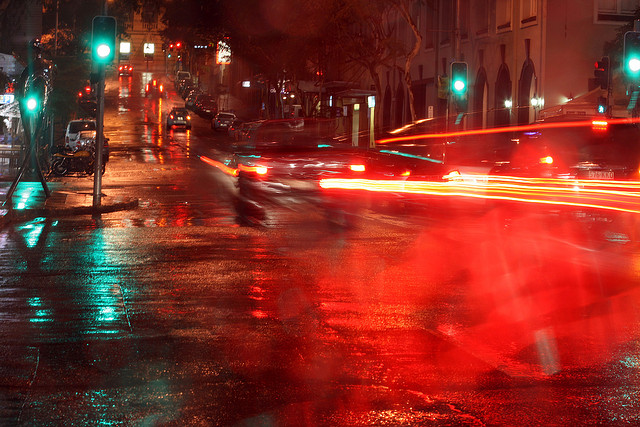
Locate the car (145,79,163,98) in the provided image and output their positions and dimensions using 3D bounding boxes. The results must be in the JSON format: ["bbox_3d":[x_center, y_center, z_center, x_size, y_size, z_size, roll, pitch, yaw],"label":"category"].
[{"bbox_3d":[-34.046,-25.657,118.474,3.445,3.047,7.750,-1,13,-5],"label":"car"}]

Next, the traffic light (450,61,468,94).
[{"bbox_3d":[6.710,-6.620,27.800,0.716,1.522,0.657,1,5,8],"label":"traffic light"}]

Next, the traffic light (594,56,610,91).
[{"bbox_3d":[11.782,-5.852,24.157,0.587,1.532,0.809,-6,16,-2],"label":"traffic light"}]

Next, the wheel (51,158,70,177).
[{"bbox_3d":[-13.863,-2.514,30.776,0.907,0.957,0.360,1,-4,-13],"label":"wheel"}]

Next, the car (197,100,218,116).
[{"bbox_3d":[-18.088,-17.289,92.639,3.072,2.391,1.817,1,6,6],"label":"car"}]

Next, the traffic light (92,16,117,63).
[{"bbox_3d":[-6.968,-5.679,18.595,0.751,1.508,0.424,-2,5,-28],"label":"traffic light"}]

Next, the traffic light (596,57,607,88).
[{"bbox_3d":[11.566,-5.850,23.619,0.423,1.237,0.773,3,6,24],"label":"traffic light"}]

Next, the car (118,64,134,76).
[{"bbox_3d":[-46.937,-34.967,139.219,3.568,2.689,7.904,-1,14,-7],"label":"car"}]

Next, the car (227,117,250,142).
[{"bbox_3d":[-10.029,-9.828,70.385,3.149,2.802,5.317,0,11,-3],"label":"car"}]

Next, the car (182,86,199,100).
[{"bbox_3d":[-24.959,-22.975,109.466,2.242,1.854,3.811,-1,15,-6],"label":"car"}]

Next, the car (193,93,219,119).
[{"bbox_3d":[-18.941,-17.782,94.542,2.582,2.145,6.568,0,22,-10],"label":"car"}]

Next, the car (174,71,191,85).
[{"bbox_3d":[-31.190,-30.759,130.865,3.039,2.958,5.428,-1,14,-11],"label":"car"}]

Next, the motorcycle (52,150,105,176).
[{"bbox_3d":[-12.176,-2.510,28.873,2.774,1.703,1.390,-2,6,-19],"label":"motorcycle"}]

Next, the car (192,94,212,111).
[{"bbox_3d":[-19.791,-18.621,96.118,2.332,1.928,3.994,-2,14,-10],"label":"car"}]

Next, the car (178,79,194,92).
[{"bbox_3d":[-27.576,-26.274,118.751,2.645,2.253,4.579,-2,16,-9],"label":"car"}]

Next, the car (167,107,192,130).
[{"bbox_3d":[-17.672,-11.991,72.369,2.934,2.626,1.531,-4,7,-36],"label":"car"}]

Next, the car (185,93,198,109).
[{"bbox_3d":[-22.944,-20.212,102.166,1.607,1.328,3.955,3,25,-3],"label":"car"}]

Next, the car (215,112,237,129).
[{"bbox_3d":[-12.003,-11.846,73.248,2.418,1.998,4.137,-2,15,-10],"label":"car"}]
